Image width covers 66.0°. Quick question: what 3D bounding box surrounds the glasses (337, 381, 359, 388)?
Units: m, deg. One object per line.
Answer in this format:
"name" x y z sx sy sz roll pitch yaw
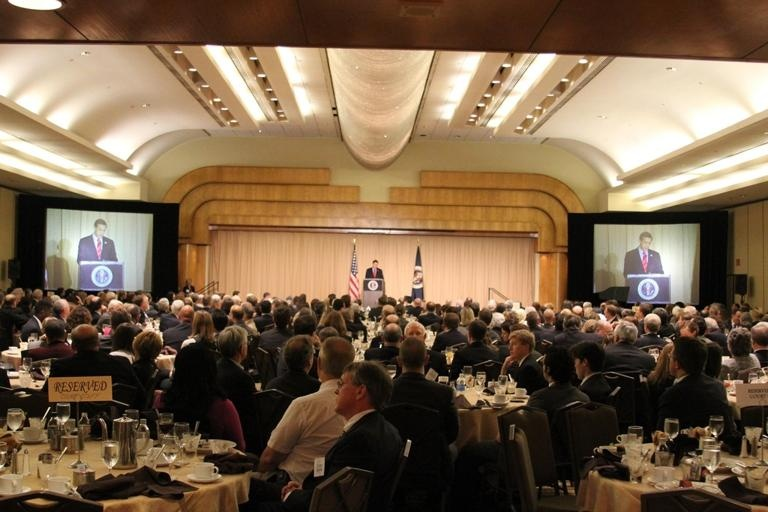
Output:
"glasses" -0.249 0.902 4.137 0.176 0.057 0.039 -2 -3 31

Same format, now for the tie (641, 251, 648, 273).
"tie" 8.647 0.237 19.736 0.203 0.673 0.117 0 -2 -7

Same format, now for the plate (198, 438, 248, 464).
"plate" -1.264 1.535 4.653 0.217 0.074 0.221 1 0 0

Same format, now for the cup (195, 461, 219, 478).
"cup" -1.259 1.515 4.211 0.124 0.086 0.097 3 -12 -2

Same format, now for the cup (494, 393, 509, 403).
"cup" 1.311 1.597 6.659 0.119 0.064 0.089 2 -10 3

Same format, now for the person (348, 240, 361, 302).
"person" -1.100 0.679 21.061 0.406 2.697 0.471 -23 39 -35

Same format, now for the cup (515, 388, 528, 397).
"cup" 1.594 1.602 6.927 0.108 0.078 0.083 4 -12 -18

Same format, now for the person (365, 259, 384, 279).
"person" -0.397 0.525 21.256 0.591 1.246 0.402 1 -15 -3

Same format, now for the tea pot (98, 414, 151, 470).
"tea pot" -1.985 1.354 4.420 0.370 0.385 0.214 2 -2 19
